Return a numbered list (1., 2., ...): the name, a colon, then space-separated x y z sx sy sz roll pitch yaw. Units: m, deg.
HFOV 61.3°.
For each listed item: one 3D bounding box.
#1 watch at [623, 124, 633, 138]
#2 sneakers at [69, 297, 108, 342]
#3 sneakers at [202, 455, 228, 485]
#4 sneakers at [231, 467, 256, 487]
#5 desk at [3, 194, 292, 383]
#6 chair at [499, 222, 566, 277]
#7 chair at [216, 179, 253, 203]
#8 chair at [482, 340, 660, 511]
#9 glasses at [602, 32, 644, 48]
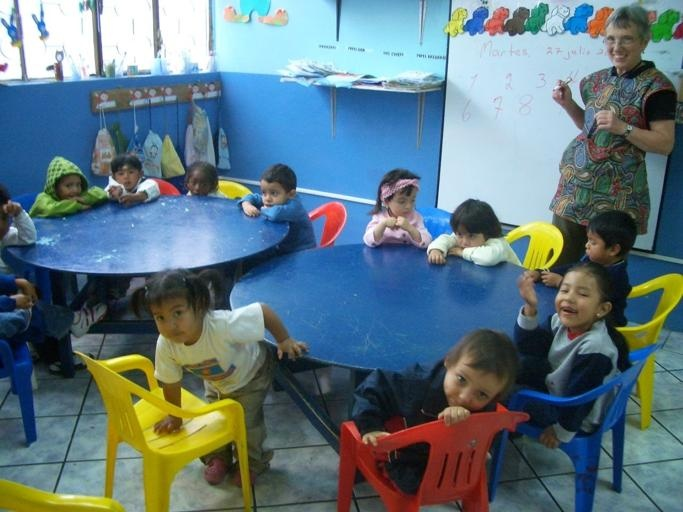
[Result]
1. watch: 1.476 -0.645 2.989 0.037 0.056 0.063 9 -16 19
2. sneakers: -1.340 0.320 3.133 0.091 0.118 0.275 21 36 2
3. sneakers: -0.555 0.938 2.530 0.068 0.054 0.124 1 33 -2
4. sneakers: -0.429 0.960 2.534 0.064 0.057 0.139 -9 20 -32
5. desk: -1.042 0.284 3.193 1.035 0.516 1.054 7 28 8
6. chair: 1.088 -0.037 3.245 0.196 0.250 0.186 -24 54 -27
7. chair: -0.745 -0.468 4.089 0.208 0.209 0.203 9 29 20
8. chair: 0.928 0.713 2.389 0.528 0.682 0.477 -17 24 -34
9. glasses: 1.455 -1.104 2.949 0.181 0.059 0.096 7 14 27
